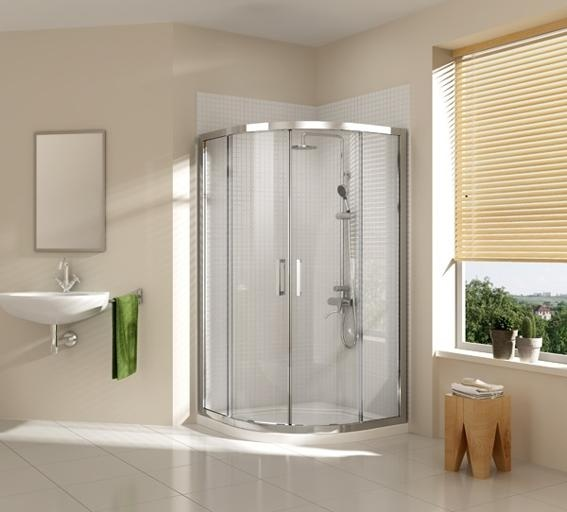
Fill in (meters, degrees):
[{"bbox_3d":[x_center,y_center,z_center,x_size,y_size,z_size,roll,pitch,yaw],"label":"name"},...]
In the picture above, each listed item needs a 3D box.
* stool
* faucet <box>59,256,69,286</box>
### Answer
[{"bbox_3d":[1.122,1.021,3.072,0.364,0.402,0.378,-2,-9,15],"label":"stool"},{"bbox_3d":[-1.649,0.118,3.954,0.067,0.213,0.117,-1,2,-22],"label":"faucet"}]
